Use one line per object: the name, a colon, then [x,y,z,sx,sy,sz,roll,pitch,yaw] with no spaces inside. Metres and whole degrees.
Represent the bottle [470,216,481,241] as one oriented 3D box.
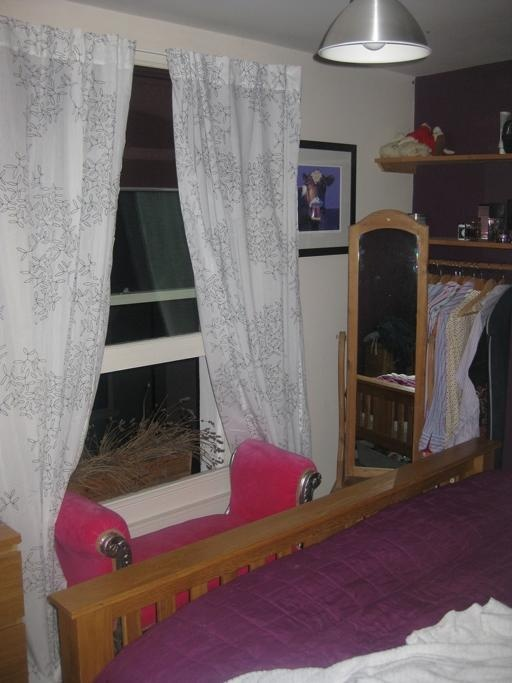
bottle: [1.194,-0.607,3.002,0.055,0.130,0.090,-2,4,19]
